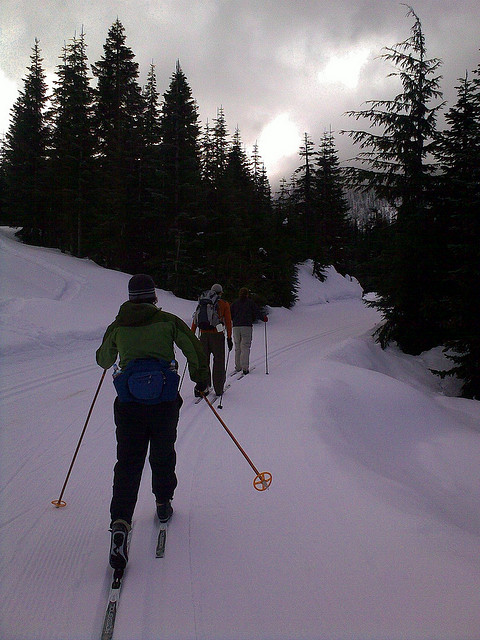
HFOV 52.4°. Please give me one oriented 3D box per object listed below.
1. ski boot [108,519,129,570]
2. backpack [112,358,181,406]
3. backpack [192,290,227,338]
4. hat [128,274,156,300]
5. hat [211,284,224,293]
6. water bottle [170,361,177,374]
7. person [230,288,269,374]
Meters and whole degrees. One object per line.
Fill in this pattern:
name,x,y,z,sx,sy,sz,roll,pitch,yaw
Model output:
ski boot,-0.879,1.672,3.650,0.118,0.395,0.225,1,-3,2
backpack,-0.715,0.486,3.733,0.488,0.347,0.192,-1,7,-12
backpack,-0.510,-0.082,8.114,0.506,0.778,0.390,-2,8,-18
hat,-0.816,-0.267,4.095,0.210,0.247,0.169,-10,14,-25
hat,-0.393,-0.521,8.334,0.141,0.099,0.098,2,9,-45
water bottle,-0.525,0.388,3.860,0.043,0.095,0.086,2,-3,-5
person,0.136,0.270,9.964,0.650,1.815,1.028,1,7,-1
